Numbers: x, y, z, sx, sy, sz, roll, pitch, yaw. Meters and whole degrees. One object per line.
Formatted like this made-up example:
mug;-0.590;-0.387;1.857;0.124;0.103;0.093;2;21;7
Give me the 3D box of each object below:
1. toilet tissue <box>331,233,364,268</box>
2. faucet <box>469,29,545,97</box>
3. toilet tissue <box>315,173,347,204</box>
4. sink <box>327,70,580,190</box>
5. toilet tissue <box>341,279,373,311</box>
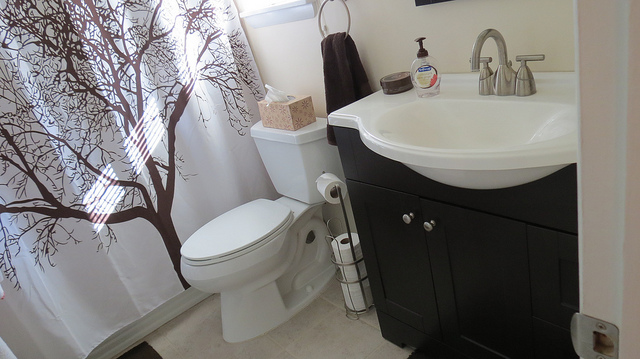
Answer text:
toilet tissue;0.163;0.412;2.480;0.181;0.187;0.180;1;31;14
faucet;0.726;-0.466;1.734;0.321;0.260;0.269;6;20;36
toilet tissue;0.054;0.037;2.362;0.161;0.154;0.171;6;14;-26
sink;0.541;-0.220;1.803;0.926;0.377;0.627;4;23;29
toilet tissue;0.213;0.666;2.524;0.169;0.168;0.164;-19;22;-4
